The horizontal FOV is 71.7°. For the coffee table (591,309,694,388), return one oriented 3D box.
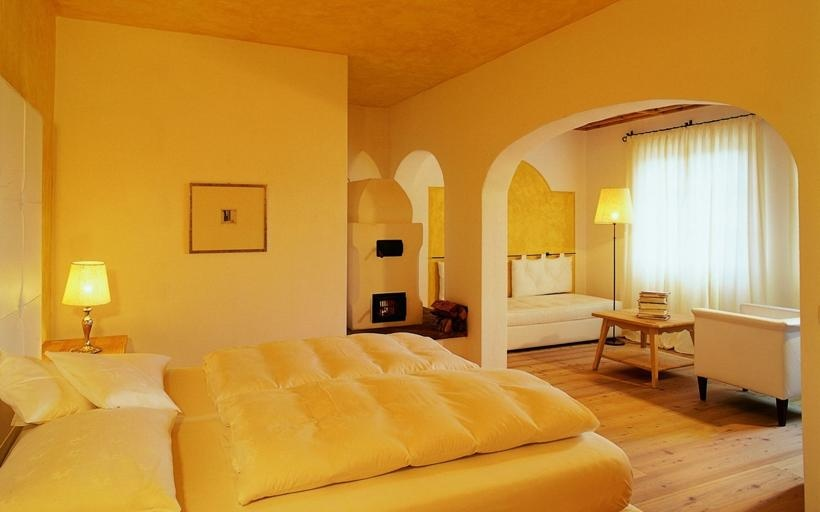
[{"bbox_3d":[2.633,0.954,6.554,0.960,0.659,0.885,-3,8,-30],"label":"coffee table"}]

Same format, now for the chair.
[{"bbox_3d":[3.231,0.945,5.589,1.121,1.044,1.104,1,-1,-34],"label":"chair"}]

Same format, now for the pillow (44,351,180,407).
[{"bbox_3d":[-1.945,0.822,3.759,0.539,0.142,0.632,31,9,34],"label":"pillow"}]

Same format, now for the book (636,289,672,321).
[{"bbox_3d":[2.793,0.552,6.489,0.366,0.338,0.320,1,0,41],"label":"book"}]
